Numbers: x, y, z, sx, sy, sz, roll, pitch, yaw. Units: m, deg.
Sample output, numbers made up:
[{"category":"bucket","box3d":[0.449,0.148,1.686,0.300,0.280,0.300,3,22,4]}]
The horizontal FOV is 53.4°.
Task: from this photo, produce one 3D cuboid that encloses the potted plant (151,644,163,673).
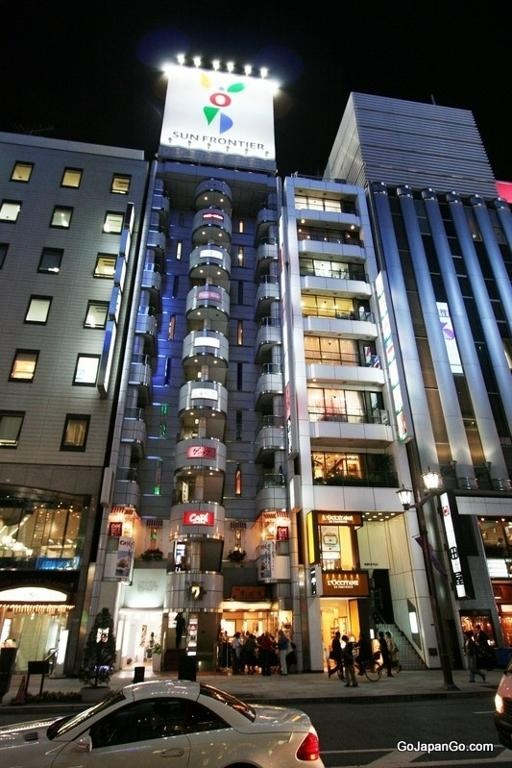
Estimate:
[{"category":"potted plant","box3d":[-4.335,12.025,22.342,0.386,1.056,0.492,1,-23,-2]}]
